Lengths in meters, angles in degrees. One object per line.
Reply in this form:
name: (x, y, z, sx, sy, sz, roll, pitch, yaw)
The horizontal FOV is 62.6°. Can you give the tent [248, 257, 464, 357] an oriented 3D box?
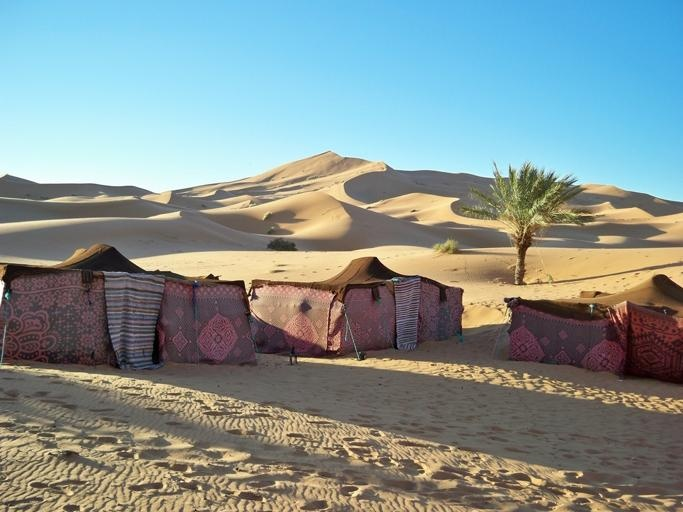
tent: (-0.278, 1.487, 14.257, 4.944, 1.507, 3.280, 1, -4, -44)
